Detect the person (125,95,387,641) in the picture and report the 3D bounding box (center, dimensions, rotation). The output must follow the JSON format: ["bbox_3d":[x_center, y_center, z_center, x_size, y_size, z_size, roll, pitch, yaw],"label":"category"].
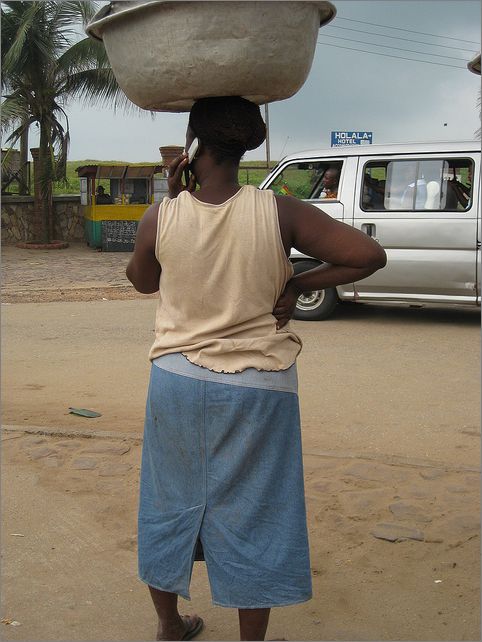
[{"bbox_3d":[-0.005,0.225,1.896,0.698,1.633,0.326,4,8,2],"label":"person"}]

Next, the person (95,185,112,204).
[{"bbox_3d":[-4.007,-3.644,19.953,0.455,0.568,1.055,2,7,-11],"label":"person"}]
